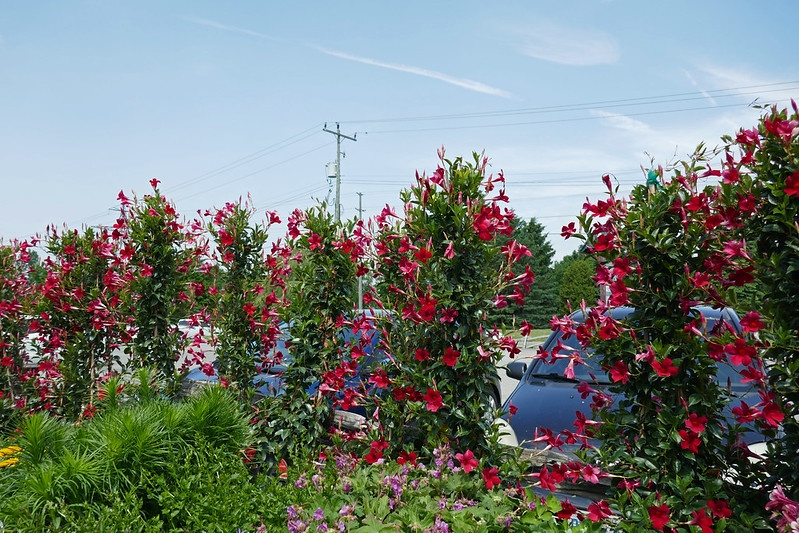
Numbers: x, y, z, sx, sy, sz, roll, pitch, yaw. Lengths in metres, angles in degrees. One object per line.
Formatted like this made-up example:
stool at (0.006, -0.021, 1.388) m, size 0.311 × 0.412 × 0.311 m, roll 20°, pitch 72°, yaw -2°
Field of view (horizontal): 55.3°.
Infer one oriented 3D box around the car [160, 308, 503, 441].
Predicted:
car at (-0.608, 1.751, 9.880) m, size 3.476 × 1.685 × 2.022 m, roll 8°, pitch -11°, yaw -25°
